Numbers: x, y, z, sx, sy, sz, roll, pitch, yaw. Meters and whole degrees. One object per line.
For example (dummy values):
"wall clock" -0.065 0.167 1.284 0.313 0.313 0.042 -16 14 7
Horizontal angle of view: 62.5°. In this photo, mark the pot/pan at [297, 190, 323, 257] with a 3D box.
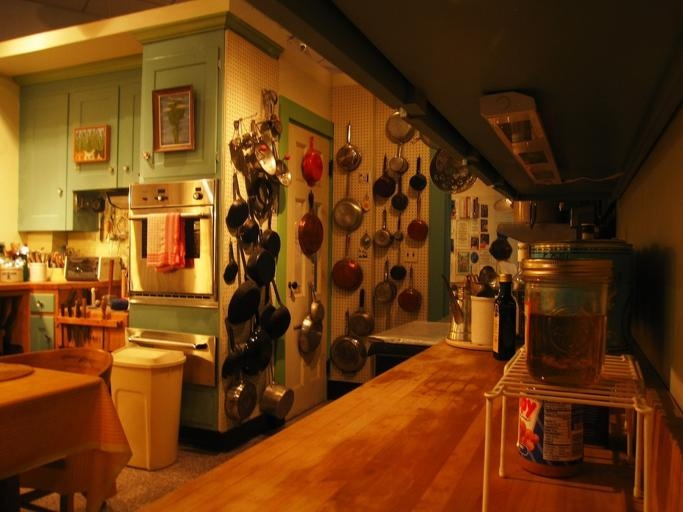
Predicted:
"pot/pan" -0.250 -0.272 4.634 0.059 0.474 0.277 -2 1 21

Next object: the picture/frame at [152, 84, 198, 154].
"picture/frame" -1.059 -0.892 3.632 0.422 0.559 0.053 0 2 23

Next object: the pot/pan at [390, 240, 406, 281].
"pot/pan" 0.491 0.038 4.762 0.143 0.322 0.044 -2 -4 43

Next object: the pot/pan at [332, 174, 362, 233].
"pot/pan" 0.057 -0.446 4.944 0.262 0.495 0.066 -2 -7 30

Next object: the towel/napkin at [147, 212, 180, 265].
"towel/napkin" -1.106 -0.106 3.555 0.226 0.317 0.084 -1 -2 27

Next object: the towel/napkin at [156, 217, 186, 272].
"towel/napkin" -1.050 -0.090 3.511 0.201 0.289 0.071 2 -2 33

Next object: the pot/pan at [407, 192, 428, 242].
"pot/pan" 0.620 -0.332 4.650 0.178 0.372 0.048 -1 -3 45

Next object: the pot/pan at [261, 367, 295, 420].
"pot/pan" -0.458 0.975 4.054 0.209 0.382 0.341 -4 -8 -37

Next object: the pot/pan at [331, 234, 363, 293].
"pot/pan" 0.056 0.078 4.950 0.268 0.512 0.140 6 10 41

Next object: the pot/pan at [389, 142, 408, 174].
"pot/pan" 0.495 -0.815 4.769 0.138 0.265 0.168 3 -2 17

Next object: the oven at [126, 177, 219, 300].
"oven" -1.055 -0.094 3.776 0.629 0.770 0.529 0 1 15

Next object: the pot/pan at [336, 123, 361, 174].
"pot/pan" 0.062 -0.944 4.972 0.244 0.420 0.106 6 10 40

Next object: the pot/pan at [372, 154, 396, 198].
"pot/pan" 0.347 -0.678 4.785 0.047 0.350 0.186 -1 2 -45

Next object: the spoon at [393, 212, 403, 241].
"spoon" 0.496 -0.244 4.784 0.082 0.237 0.050 3 9 27

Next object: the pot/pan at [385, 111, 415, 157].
"pot/pan" 0.488 -0.980 4.611 0.249 0.287 0.454 0 9 5

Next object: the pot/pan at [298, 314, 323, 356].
"pot/pan" -0.259 0.642 4.592 0.067 0.312 0.220 -1 4 28

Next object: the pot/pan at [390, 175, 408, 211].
"pot/pan" 0.492 -0.538 4.759 0.134 0.279 0.039 0 0 37

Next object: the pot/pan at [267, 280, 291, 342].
"pot/pan" -0.438 0.404 4.007 0.053 0.381 0.190 -2 4 24

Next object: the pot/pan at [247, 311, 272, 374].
"pot/pan" -0.556 0.598 3.793 0.044 0.339 0.191 1 1 28

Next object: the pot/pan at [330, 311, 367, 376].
"pot/pan" 0.024 0.737 4.830 0.300 0.540 0.076 -5 -8 38

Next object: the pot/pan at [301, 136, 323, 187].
"pot/pan" -0.235 -0.780 4.689 0.111 0.403 0.309 2 8 18

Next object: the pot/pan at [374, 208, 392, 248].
"pot/pan" 0.357 -0.242 4.824 0.158 0.315 0.043 -2 -6 39

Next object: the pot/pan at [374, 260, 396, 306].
"pot/pan" 0.377 0.244 4.802 0.183 0.354 0.048 -2 -6 39

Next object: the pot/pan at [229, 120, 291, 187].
"pot/pan" -0.574 -0.707 3.780 0.116 0.434 0.319 16 23 41

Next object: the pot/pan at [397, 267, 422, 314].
"pot/pan" 0.549 0.286 4.657 0.196 0.382 0.053 -3 -7 33

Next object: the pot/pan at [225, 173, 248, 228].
"pot/pan" -0.668 -0.336 3.599 0.077 0.381 0.200 1 8 16

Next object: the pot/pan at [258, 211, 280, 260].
"pot/pan" -0.496 -0.162 3.919 0.091 0.292 0.161 -1 -3 36

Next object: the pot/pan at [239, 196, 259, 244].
"pot/pan" -0.606 -0.216 3.730 0.046 0.244 0.131 8 14 31

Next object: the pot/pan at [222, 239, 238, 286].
"pot/pan" -0.699 0.064 3.571 0.031 0.234 0.120 3 13 24

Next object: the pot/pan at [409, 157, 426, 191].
"pot/pan" 0.641 -0.682 4.673 0.138 0.269 0.060 -2 -2 28

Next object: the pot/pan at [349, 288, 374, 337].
"pot/pan" 0.152 0.485 4.835 0.217 0.406 0.055 -4 -8 34

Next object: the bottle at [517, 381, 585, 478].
"bottle" 0.455 0.381 1.326 0.187 0.235 0.197 0 1 0
